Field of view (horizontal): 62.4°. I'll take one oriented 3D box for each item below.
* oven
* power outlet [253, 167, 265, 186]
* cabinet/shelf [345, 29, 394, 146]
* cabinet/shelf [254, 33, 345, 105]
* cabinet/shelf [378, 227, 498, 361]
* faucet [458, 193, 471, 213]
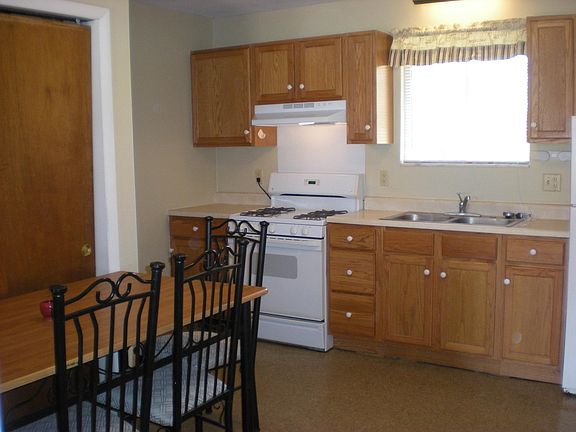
[{"bbox_3d":[0.052,0.470,4.074,0.830,1.034,0.792,0,16,9],"label":"oven"},{"bbox_3d":[-0.277,-0.391,4.660,0.104,0.158,0.035,6,12,35],"label":"power outlet"},{"bbox_3d":[0.707,-1.047,3.888,0.458,0.890,0.251,-7,11,-31],"label":"cabinet/shelf"},{"bbox_3d":[0.117,-1.224,3.990,0.619,0.396,0.228,4,9,25],"label":"cabinet/shelf"},{"bbox_3d":[1.152,0.551,3.555,0.825,0.850,0.423,2,-4,29],"label":"cabinet/shelf"},{"bbox_3d":[1.411,-0.104,3.793,0.100,0.148,0.139,3,10,21],"label":"faucet"}]
